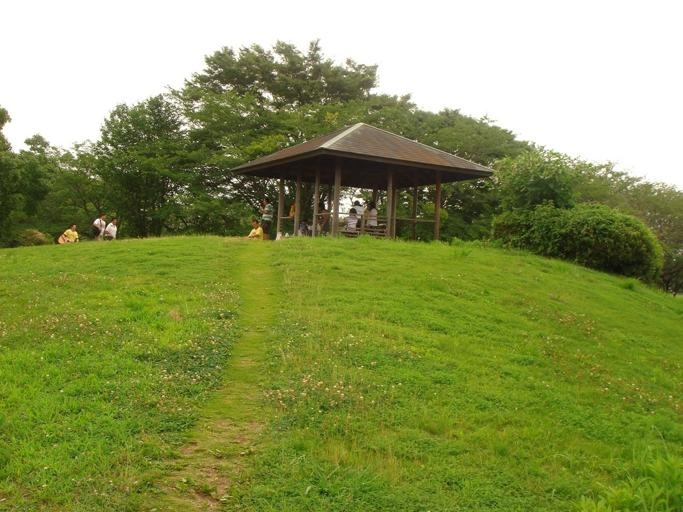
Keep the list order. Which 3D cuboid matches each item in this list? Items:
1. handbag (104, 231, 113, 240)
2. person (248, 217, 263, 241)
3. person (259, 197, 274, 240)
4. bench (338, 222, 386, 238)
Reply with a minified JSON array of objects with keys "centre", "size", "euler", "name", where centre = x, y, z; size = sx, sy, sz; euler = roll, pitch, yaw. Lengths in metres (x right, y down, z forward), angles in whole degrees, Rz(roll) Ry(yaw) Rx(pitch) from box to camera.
[{"centre":[-10.764,-0.959,27.368],"size":[0.376,0.389,0.158],"euler":[-27,-7,20],"name":"handbag"},{"centre":[-3.680,-1.152,25.830],"size":[0.638,0.805,1.240],"euler":[5,4,-10],"name":"person"},{"centre":[-3.825,-1.991,29.995],"size":[0.771,1.066,2.916],"euler":[16,22,-12],"name":"person"},{"centre":[0.955,-1.073,25.531],"size":[1.894,0.554,4.085],"euler":[6,4,2],"name":"bench"}]
